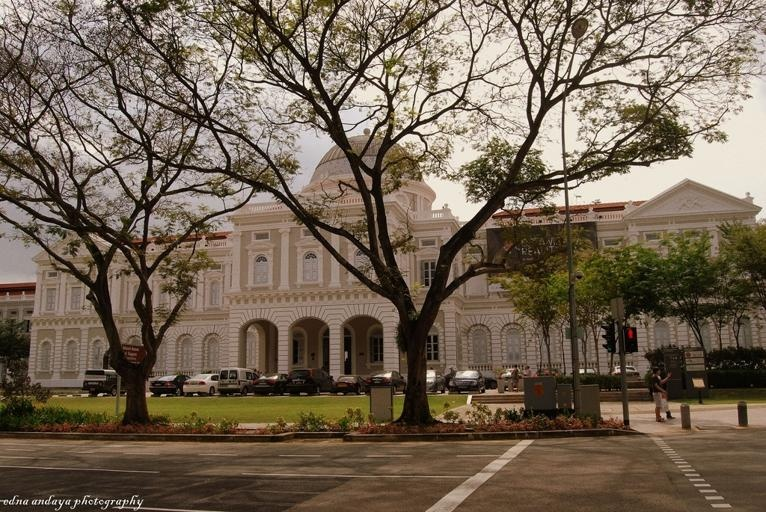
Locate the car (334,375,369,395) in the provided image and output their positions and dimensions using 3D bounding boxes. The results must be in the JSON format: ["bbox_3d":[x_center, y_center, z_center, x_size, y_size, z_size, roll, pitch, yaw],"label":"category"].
[{"bbox_3d":[-2.065,8.685,53.423,1.682,1.281,2.268,-4,-3,36],"label":"car"}]

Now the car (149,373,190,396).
[{"bbox_3d":[-15.035,9.208,56.934,1.305,0.881,2.801,-1,-5,11],"label":"car"}]

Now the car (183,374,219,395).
[{"bbox_3d":[-12.765,9.115,56.144,2.446,1.343,1.815,-1,-3,-12],"label":"car"}]

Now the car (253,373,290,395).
[{"bbox_3d":[-7.607,8.770,54.076,2.193,1.300,1.536,-1,-3,-9],"label":"car"}]

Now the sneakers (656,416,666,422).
[{"bbox_3d":[10.670,6.358,31.084,0.190,0.227,0.555,0,-14,-4],"label":"sneakers"}]

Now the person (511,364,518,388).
[{"bbox_3d":[8.545,8.117,52.472,0.448,1.210,2.147,-2,-3,8],"label":"person"}]

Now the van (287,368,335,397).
[{"bbox_3d":[-4.910,8.534,54.360,1.621,1.083,3.318,-1,-6,13],"label":"van"}]

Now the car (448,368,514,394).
[{"bbox_3d":[6.750,8.594,54.409,3.461,1.711,6.570,-3,-3,18],"label":"car"}]

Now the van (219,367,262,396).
[{"bbox_3d":[-10.294,8.930,57.215,1.738,1.379,2.990,-1,-5,14],"label":"van"}]

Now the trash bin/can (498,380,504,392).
[{"bbox_3d":[7.106,7.988,49.035,0.348,0.743,0.350,-3,-2,16],"label":"trash bin/can"}]

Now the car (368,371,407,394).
[{"bbox_3d":[0.311,8.133,52.947,1.951,1.316,4.171,-2,-6,17],"label":"car"}]
